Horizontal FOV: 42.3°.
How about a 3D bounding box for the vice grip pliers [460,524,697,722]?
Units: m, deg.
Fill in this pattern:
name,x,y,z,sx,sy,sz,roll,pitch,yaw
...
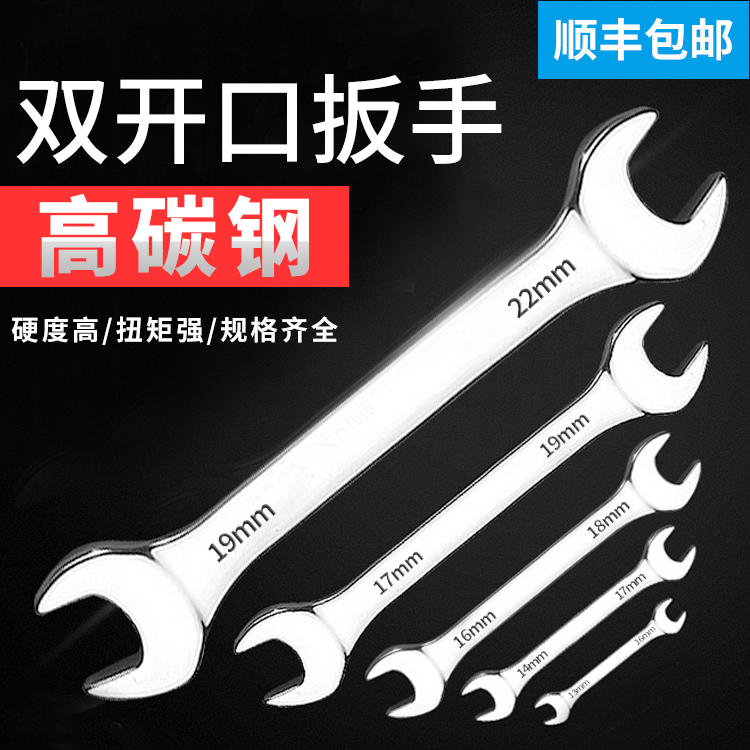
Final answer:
name,x,y,z,sx,sy,sz,roll,pitch,yaw
vice grip pliers,0.350,0.413,1.843,0.585,0.022,0.120,-44,-62,0
